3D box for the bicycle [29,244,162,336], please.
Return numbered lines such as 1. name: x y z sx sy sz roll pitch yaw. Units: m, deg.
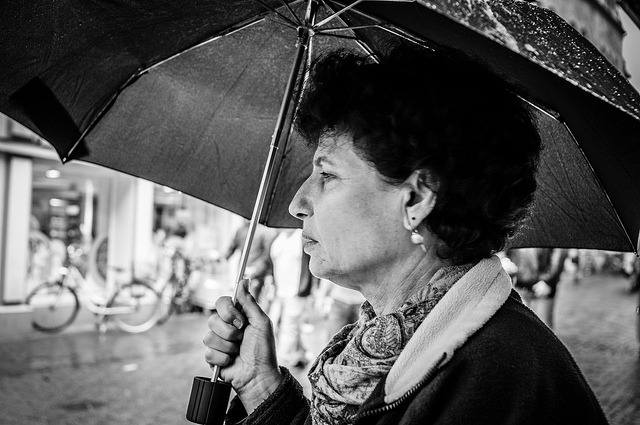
1. bicycle: -3.732 1.212 10.505 2.140 1.381 1.113 4 -1 7
